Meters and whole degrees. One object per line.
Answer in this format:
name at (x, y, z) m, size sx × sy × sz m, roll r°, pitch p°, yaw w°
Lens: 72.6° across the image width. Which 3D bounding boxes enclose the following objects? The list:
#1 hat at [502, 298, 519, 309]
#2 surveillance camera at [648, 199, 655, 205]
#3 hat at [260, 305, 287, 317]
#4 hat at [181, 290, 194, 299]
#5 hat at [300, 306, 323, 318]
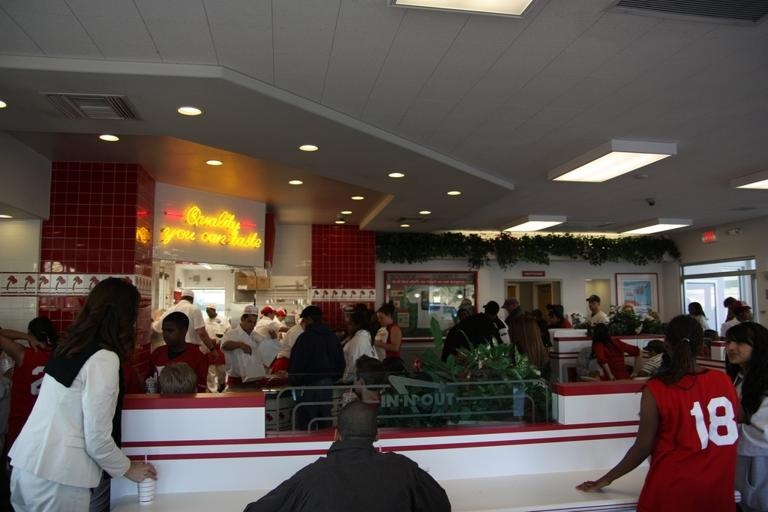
hat at (2.033, 0.764, 8.460) m, size 0.216 × 0.108 × 0.161 m, roll 4°, pitch 4°, yaw 32°
surveillance camera at (4.159, -0.840, 8.113) m, size 0.111 × 0.090 × 0.119 m, roll 1°, pitch -11°, yaw 3°
hat at (-2.032, 1.003, 9.228) m, size 0.292 × 0.151 × 0.396 m, roll 1°, pitch -1°, yaw -2°
hat at (-3.226, 0.630, 8.520) m, size 0.193 × 0.193 × 0.256 m, roll 4°, pitch 4°, yaw -31°
hat at (-0.836, 0.644, 6.004) m, size 0.164 × 0.114 × 0.225 m, roll 1°, pitch 2°, yaw -24°
